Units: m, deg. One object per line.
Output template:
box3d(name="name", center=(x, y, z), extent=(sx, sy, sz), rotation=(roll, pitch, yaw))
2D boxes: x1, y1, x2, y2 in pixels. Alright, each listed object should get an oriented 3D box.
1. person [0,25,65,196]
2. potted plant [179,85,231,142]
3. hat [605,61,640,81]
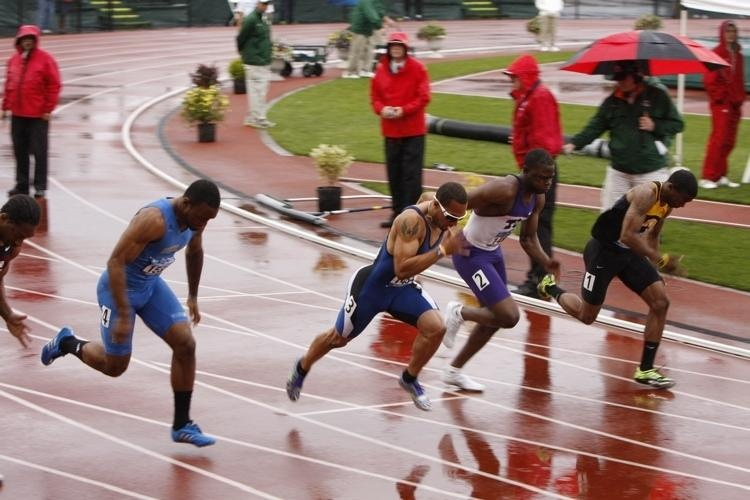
box3d(name="person", center=(-5.255, -2.107, 13.955), extent=(0.855, 2.620, 0.678), rotation=(-1, 19, -15))
box3d(name="potted plant", center=(-3.509, -2.826, 18.753), extent=(0.887, 1.120, 1.064), rotation=(0, 16, -10))
box3d(name="hat", center=(3.039, -2.236, 11.301), extent=(0.456, 0.108, 0.255), rotation=(-7, 12, 18))
